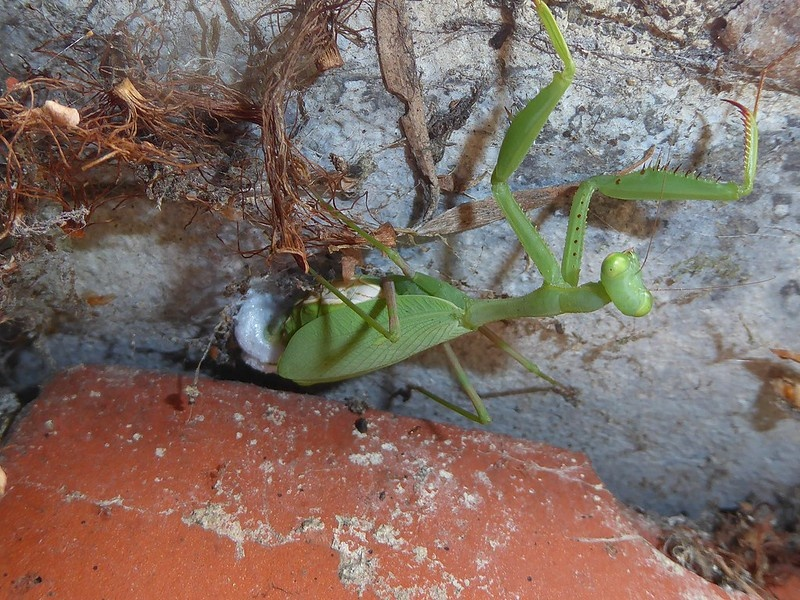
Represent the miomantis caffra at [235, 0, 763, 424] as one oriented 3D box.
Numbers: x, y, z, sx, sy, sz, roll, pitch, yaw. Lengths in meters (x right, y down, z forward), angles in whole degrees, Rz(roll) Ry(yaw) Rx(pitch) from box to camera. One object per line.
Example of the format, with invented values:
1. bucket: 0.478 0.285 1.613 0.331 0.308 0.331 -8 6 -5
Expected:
1. miomantis caffra: 0.118 -0.071 1.219 0.790 0.770 0.361 4 53 -12
